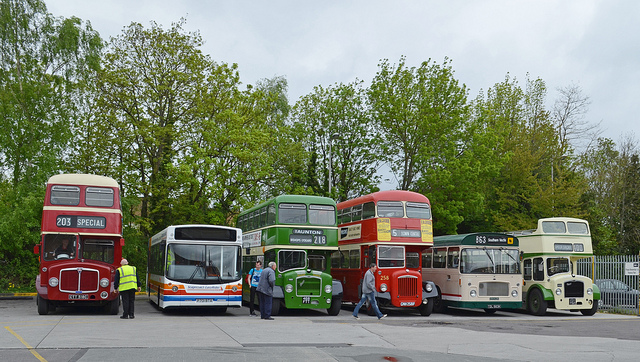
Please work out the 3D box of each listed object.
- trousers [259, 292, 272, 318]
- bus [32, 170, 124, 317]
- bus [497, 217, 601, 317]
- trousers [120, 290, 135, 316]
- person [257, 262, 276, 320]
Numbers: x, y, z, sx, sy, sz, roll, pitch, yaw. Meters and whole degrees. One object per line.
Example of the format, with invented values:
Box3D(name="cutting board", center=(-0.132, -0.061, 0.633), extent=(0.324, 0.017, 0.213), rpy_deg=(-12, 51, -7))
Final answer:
Box3D(name="trousers", center=(-3.214, 7.289, 31.998), extent=(0.711, 1.474, 0.398), rpy_deg=(1, -2, -2))
Box3D(name="bus", center=(-13.846, 3.687, 31.622), extent=(4.093, 8.072, 0.897), rpy_deg=(2, -2, -12))
Box3D(name="bus", center=(15.199, 6.021, 36.450), extent=(2.545, 3.597, 6.637), rpy_deg=(0, -8, -5))
Box3D(name="trousers", center=(-10.764, 6.836, 30.698), extent=(0.725, 1.451, 0.471), rpy_deg=(2, -2, -11))
Box3D(name="person", center=(-3.159, 6.438, 32.090), extent=(0.988, 3.263, 0.802), rpy_deg=(2, -2, -14))
